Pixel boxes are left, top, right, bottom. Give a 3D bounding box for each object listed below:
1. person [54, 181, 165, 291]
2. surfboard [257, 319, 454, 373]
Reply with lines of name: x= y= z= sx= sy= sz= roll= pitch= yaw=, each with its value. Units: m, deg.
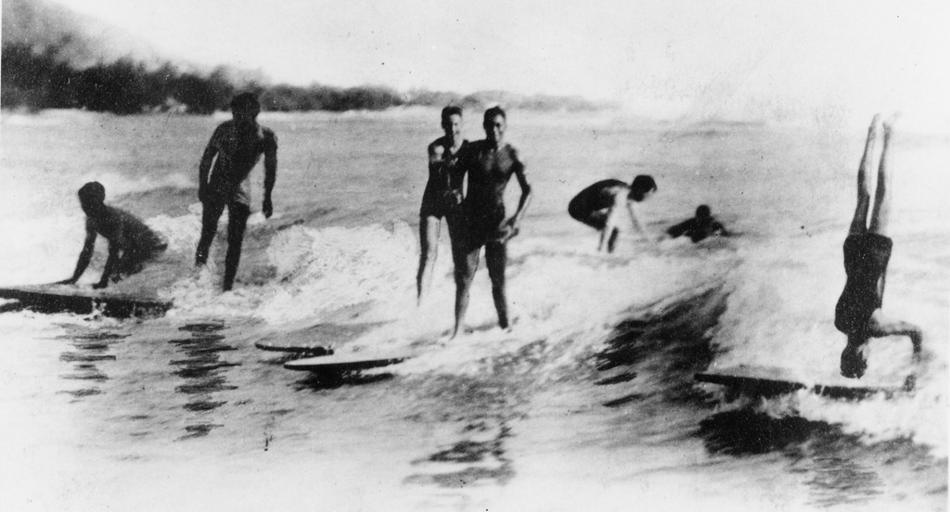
person: x=-3.977 y=-0.157 z=10.577 sx=0.395 sy=1.077 sz=1.174 roll=-6 pitch=-7 yaw=29
surfboard: x=-1.482 y=1.084 z=10.420 sx=1.734 sy=0.350 sz=0.205 roll=4 pitch=25 yaw=-5
